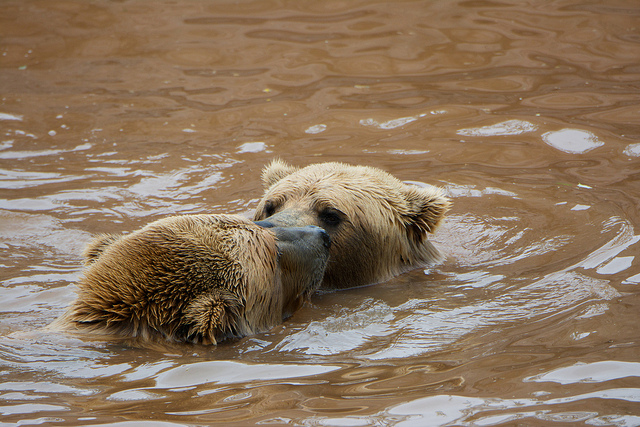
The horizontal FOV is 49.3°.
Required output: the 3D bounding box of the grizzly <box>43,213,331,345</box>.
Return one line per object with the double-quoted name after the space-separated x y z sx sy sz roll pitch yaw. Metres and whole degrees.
-0.924 0.485 5.396 1.462 0.896 1.417 13 29 15 "grizzly"
